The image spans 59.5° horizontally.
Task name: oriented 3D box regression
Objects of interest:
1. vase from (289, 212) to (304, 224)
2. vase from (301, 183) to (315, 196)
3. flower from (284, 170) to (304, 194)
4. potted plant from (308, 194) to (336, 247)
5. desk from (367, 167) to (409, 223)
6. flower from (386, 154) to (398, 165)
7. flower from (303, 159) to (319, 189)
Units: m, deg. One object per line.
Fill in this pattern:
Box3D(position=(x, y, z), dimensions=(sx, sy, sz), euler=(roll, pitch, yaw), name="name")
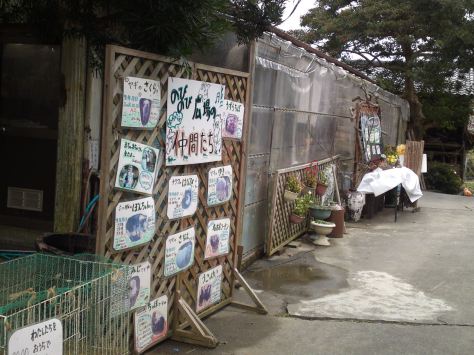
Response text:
Box3D(position=(1.055, 0.718, 7.415), dimensions=(0.247, 0.210, 0.168), euler=(3, 7, 5), name="vase")
Box3D(position=(1.335, 0.223, 7.863), dimensions=(0.226, 0.135, 0.167), euler=(8, 1, 10), name="vase")
Box3D(position=(0.946, 0.084, 7.268), dimensions=(0.345, 0.383, 0.237), euler=(2, -8, -34), name="flower")
Box3D(position=(1.666, 0.863, 8.112), dimensions=(0.632, 0.889, 0.674), euler=(-1, 2, 38), name="potted plant")
Box3D(position=(3.692, 0.371, 10.207), dimensions=(0.965, 1.282, 1.097), euler=(0, 0, -37), name="desk")
Box3D(position=(4.073, -0.492, 11.004), dimensions=(0.272, 0.218, 0.276), euler=(-5, 11, -30), name="flower")
Box3D(position=(1.434, -0.073, 8.044), dimensions=(0.191, 0.523, 0.311), euler=(0, -20, -1), name="flower")
